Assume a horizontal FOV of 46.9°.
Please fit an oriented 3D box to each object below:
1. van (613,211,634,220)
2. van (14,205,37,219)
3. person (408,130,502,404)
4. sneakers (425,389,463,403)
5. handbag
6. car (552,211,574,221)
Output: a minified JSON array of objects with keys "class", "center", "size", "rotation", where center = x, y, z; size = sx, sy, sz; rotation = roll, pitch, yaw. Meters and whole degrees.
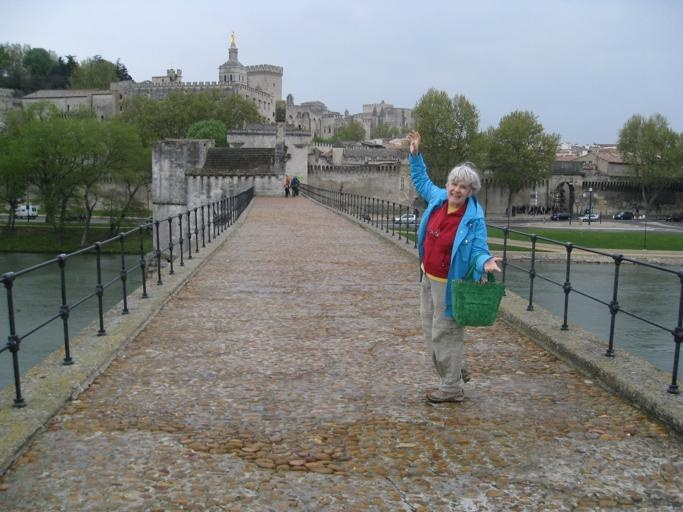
[{"class":"van","center":[32.677,-4.580,90.141],"size":[2.734,1.083,1.443],"rotation":[2,3,-4]},{"class":"van","center":[-28.233,-3.852,70.836],"size":[2.767,1.251,1.789],"rotation":[3,7,13]},{"class":"person","center":[1.132,0.189,8.155],"size":[0.787,2.509,1.407],"rotation":[0,15,3]},{"class":"sneakers","center":[1.039,1.434,8.032],"size":[0.362,0.148,0.133],"rotation":[5,0,-6]},{"class":"handbag","center":[1.305,0.410,7.610],"size":[0.464,0.505,0.226],"rotation":[3,16,12]},{"class":"car","center":[24.086,-4.118,85.628],"size":[2.504,0.957,1.283],"rotation":[2,8,-5]}]
